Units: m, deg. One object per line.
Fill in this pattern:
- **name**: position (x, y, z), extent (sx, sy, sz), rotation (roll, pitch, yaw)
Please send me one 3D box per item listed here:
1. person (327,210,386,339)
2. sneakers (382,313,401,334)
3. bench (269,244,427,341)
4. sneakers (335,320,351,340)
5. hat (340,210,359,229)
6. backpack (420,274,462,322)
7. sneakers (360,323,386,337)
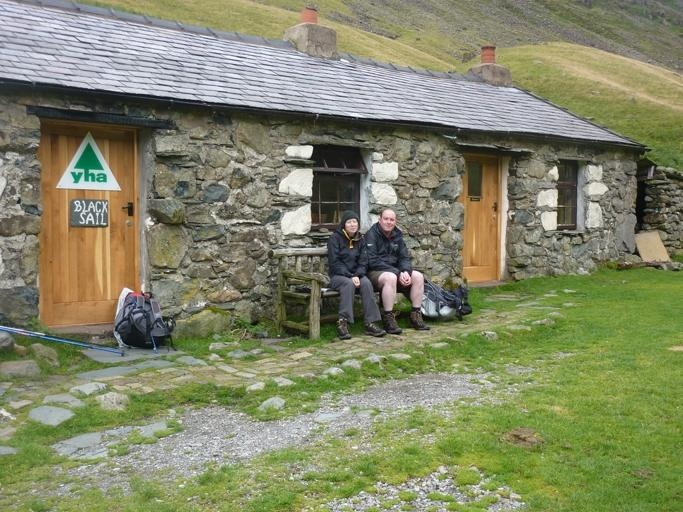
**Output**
- **person**: position (0.162, 0.235, 8.126), extent (0.688, 1.607, 0.900), rotation (-4, 12, -9)
- **sneakers**: position (0.698, 0.909, 8.138), extent (0.228, 0.271, 0.285), rotation (-2, 11, -3)
- **bench**: position (-0.304, 0.497, 8.557), extent (0.929, 1.185, 1.353), rotation (5, 4, 31)
- **sneakers**: position (0.035, 0.973, 7.892), extent (0.180, 0.246, 0.217), rotation (-2, 11, -2)
- **hat**: position (0.130, -0.520, 8.376), extent (0.242, 0.245, 0.259), rotation (1, 4, -12)
- **backpack**: position (1.482, 0.639, 8.805), extent (0.610, 0.257, 0.624), rotation (14, 16, 30)
- **sneakers**: position (0.430, 1.003, 8.046), extent (0.332, 0.149, 0.129), rotation (3, 7, 36)
